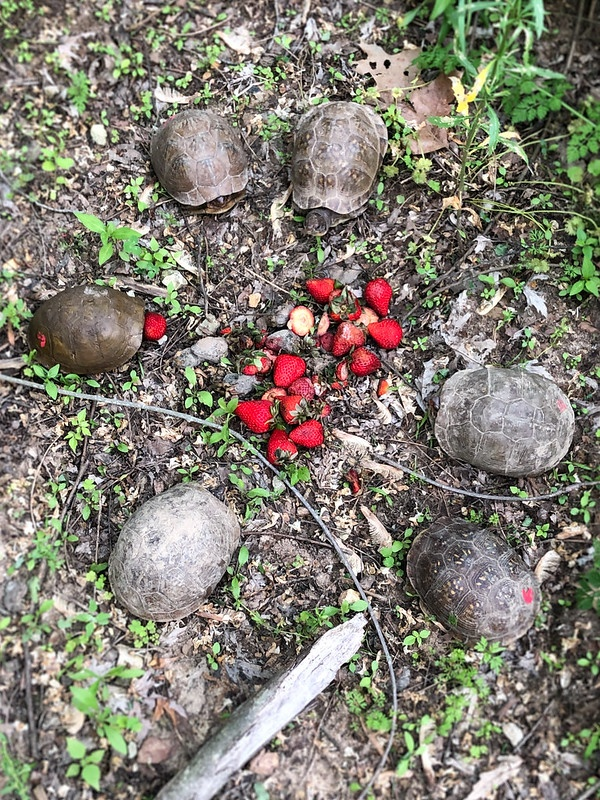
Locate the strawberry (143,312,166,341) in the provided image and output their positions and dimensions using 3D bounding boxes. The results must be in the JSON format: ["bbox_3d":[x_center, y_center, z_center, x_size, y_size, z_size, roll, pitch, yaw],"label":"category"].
[{"bbox_3d":[-0.862,-0.437,4.074,0.119,0.141,0.158,5,75,3],"label":"strawberry"}]

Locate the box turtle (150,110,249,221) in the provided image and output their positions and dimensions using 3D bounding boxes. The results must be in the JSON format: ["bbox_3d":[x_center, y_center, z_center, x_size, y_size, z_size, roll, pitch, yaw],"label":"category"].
[{"bbox_3d":[-0.548,-1.400,4.001,0.607,0.253,0.714,-13,63,-10],"label":"box turtle"}]

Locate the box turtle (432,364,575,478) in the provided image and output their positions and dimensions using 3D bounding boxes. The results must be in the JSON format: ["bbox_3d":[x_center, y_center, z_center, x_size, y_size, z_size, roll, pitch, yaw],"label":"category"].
[{"bbox_3d":[1.149,0.110,3.791,0.723,0.350,0.552,7,75,3],"label":"box turtle"}]

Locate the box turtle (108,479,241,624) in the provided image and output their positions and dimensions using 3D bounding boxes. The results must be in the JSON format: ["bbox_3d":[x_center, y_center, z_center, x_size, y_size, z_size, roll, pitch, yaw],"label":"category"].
[{"bbox_3d":[-0.680,0.813,3.639,0.567,0.454,0.731,34,78,10],"label":"box turtle"}]
